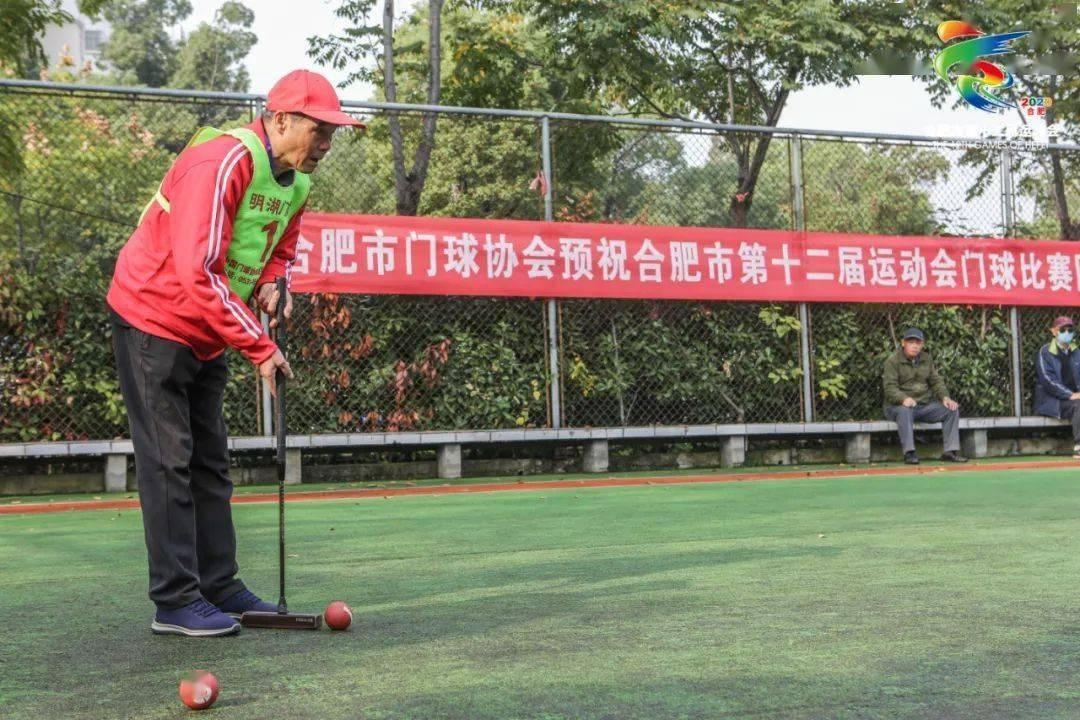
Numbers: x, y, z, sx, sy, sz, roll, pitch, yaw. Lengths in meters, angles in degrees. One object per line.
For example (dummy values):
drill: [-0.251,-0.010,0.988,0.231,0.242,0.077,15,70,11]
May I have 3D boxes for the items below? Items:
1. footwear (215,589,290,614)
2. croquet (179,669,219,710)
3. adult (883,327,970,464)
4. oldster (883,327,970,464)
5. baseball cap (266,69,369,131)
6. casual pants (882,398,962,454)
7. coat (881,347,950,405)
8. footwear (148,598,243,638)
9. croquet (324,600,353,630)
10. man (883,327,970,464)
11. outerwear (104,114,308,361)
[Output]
footwear: [-1.809,1.576,8.581,0.537,0.196,0.181,1,-4,1]
croquet: [-1.936,1.886,7.573,0.199,0.200,0.201,-2,-6,3]
adult: [4.334,0.380,15.018,0.885,1.484,0.575,-1,11,-4]
oldster: [4.334,0.380,15.018,0.885,1.484,0.575,-1,11,-4]
baseball cap: [-1.439,-1.713,8.498,0.662,0.306,0.432,11,14,16]
casual pants: [4.408,0.744,15.200,0.717,0.767,0.709,-4,-11,15]
coat: [4.260,0.183,15.098,0.710,0.699,0.577,-4,5,0]
footwear: [-2.161,1.616,8.302,0.511,0.234,0.236,2,-4,2]
croquet: [-1.279,1.607,8.332,0.171,0.165,0.122,-2,11,-9]
man: [4.336,0.379,15.018,0.889,1.484,0.575,-1,11,-4]
outerwear: [-2.056,-0.848,8.696,1.295,1.518,1.193,17,10,14]
